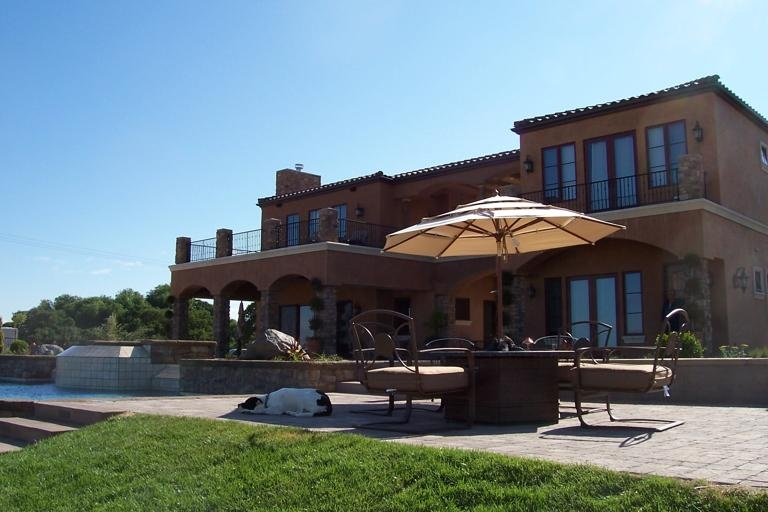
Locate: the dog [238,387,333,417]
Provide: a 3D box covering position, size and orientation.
[{"bbox_3d":[-1.848,2.655,12.017,1.776,0.632,0.647,-2,-45,8],"label":"dog"}]
